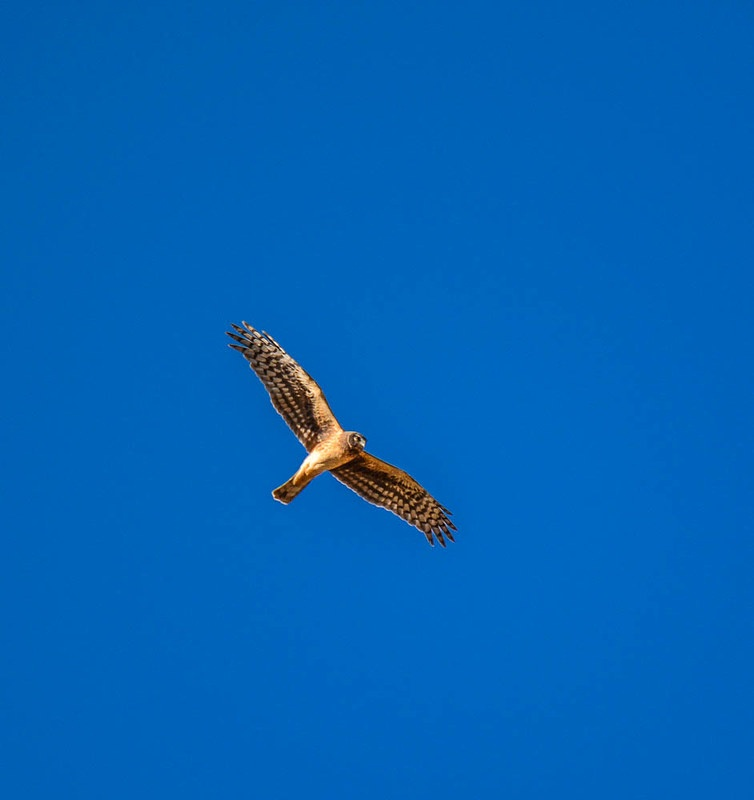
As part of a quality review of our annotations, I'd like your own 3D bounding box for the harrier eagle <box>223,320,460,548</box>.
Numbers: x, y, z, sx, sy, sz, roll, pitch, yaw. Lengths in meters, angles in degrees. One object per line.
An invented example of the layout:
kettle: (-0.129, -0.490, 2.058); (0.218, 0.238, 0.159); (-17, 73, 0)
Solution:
harrier eagle: (-0.384, 0.335, 18.508); (2.440, 1.374, 0.843); (20, -24, -7)
